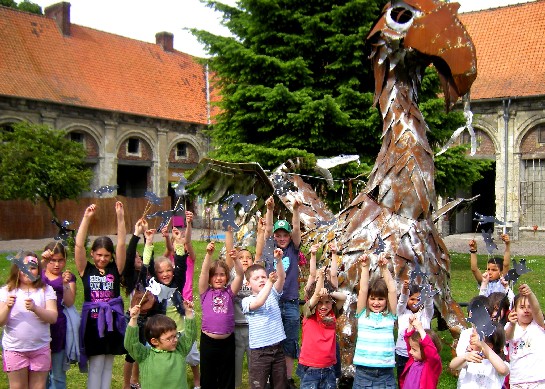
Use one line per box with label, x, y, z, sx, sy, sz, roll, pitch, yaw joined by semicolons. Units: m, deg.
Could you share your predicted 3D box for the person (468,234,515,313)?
person;3.622;1.559;10.021;0.645;1.740;0.462;-7;-24;33
